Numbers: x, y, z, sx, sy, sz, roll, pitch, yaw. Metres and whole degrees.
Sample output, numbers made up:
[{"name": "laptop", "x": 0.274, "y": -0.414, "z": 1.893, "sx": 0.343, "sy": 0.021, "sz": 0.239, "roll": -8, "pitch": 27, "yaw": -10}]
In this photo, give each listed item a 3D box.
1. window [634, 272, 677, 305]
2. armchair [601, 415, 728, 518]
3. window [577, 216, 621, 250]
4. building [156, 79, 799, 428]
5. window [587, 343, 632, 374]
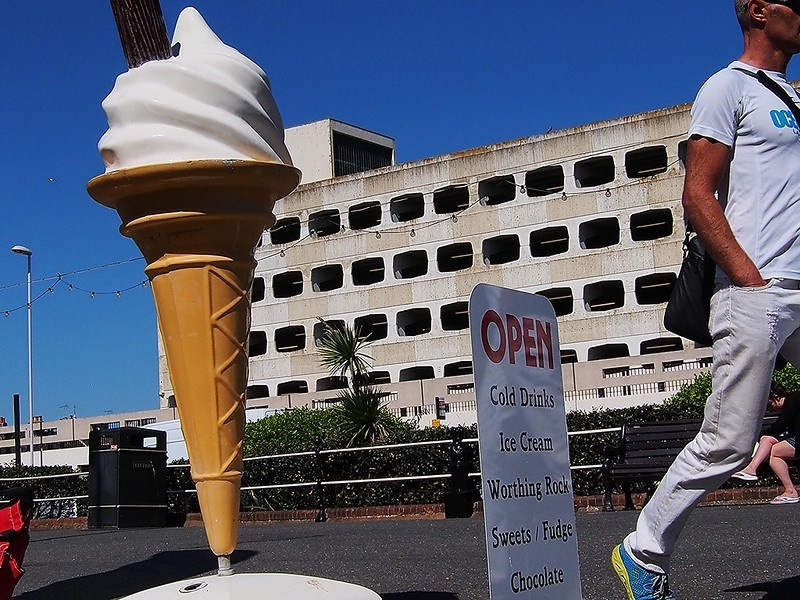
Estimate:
[{"name": "window", "x": 10.763, "y": -0.563, "z": 49.026, "sx": 1.992, "sy": 1.257, "sz": 0.439, "roll": 3, "pitch": 10, "yaw": -26}, {"name": "armchair", "x": 3.105, "y": 1.903, "z": 13.628, "sx": 0.699, "sy": 0.905, "sz": 1.464, "roll": -18, "pitch": 3, "yaw": -40}, {"name": "window", "x": 10.025, "y": -3.397, "z": 59.300, "sx": 2.015, "sy": 1.724, "sz": 3.251, "roll": -8, "pitch": 11, "yaw": -15}, {"name": "building", "x": 2.676, "y": -0.716, "z": 30.552, "sx": 16.852, "sy": 5.684, "sz": 5.351, "roll": -8, "pitch": -5, "yaw": 33}, {"name": "window", "x": 10.064, "y": 2.496, "z": 55.959, "sx": 2.079, "sy": 0.979, "sz": 1.861, "roll": -2, "pitch": 15, "yaw": 2}]
